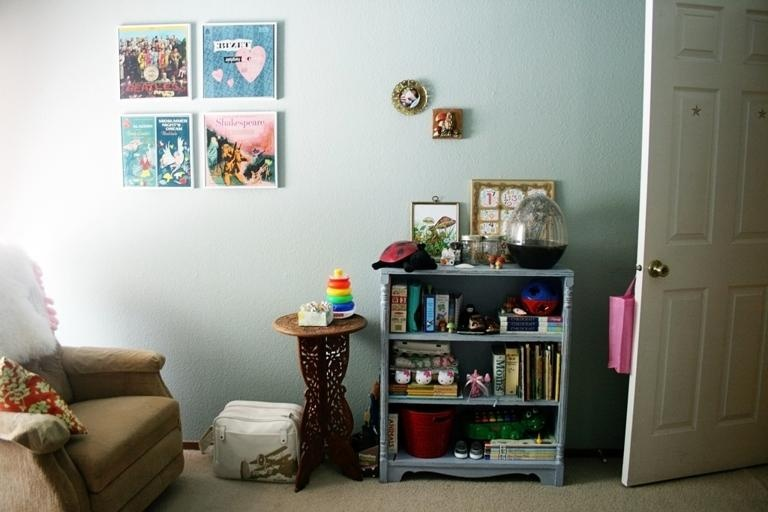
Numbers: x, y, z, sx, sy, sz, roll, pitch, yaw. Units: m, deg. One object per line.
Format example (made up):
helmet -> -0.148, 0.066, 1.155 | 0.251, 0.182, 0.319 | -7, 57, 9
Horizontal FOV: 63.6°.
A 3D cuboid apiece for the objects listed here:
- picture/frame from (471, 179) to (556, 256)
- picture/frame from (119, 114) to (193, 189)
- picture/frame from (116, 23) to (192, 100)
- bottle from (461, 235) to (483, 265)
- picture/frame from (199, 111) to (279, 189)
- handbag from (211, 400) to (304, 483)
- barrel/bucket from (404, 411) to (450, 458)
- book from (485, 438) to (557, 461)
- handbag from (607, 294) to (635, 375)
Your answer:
picture/frame -> 0.861, -0.258, 4.055 | 0.508, 0.518, 0.042 | 1, 6, 1
picture/frame -> -1.550, -0.740, 4.244 | 0.494, 0.480, 0.049 | 1, 8, 4
picture/frame -> -1.550, -1.342, 4.207 | 0.509, 0.492, 0.037 | 0, 6, 5
bottle -> 0.588, -0.040, 4.000 | 0.169, 0.182, 0.172 | 2, 2, 15
picture/frame -> -0.970, -0.741, 4.209 | 0.521, 0.506, 0.053 | 0, 9, 4
handbag -> -0.828, 1.223, 4.231 | 0.608, 0.438, 0.452 | 2, 8, 4
barrel/bucket -> 0.270, 1.157, 4.025 | 0.325, 0.245, 0.299 | 0, -8, 0
book -> 0.884, 1.256, 4.012 | 0.464, 0.131, 0.059 | -2, 9, 0
handbag -> 1.483, 0.487, 3.881 | 0.150, 0.476, 0.120 | 3, 10, 27
